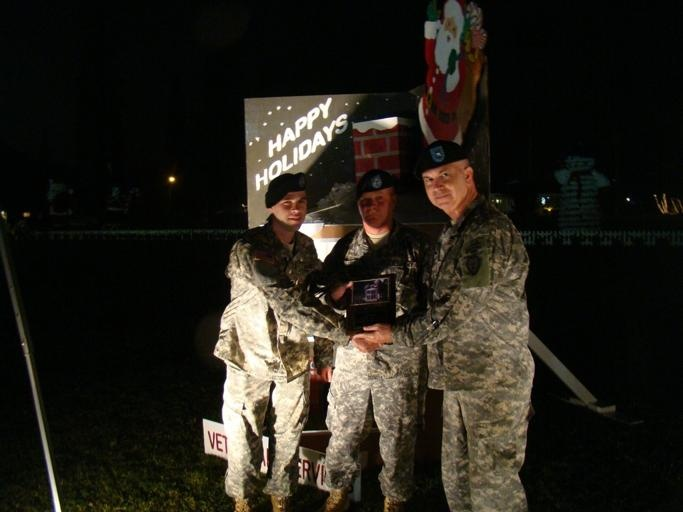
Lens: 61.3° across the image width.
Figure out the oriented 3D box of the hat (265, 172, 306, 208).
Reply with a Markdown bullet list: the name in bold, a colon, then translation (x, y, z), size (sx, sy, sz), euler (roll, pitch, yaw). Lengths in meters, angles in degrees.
- **hat**: translation (-0.547, -0.631, 5.536), size (0.370, 0.184, 0.276), euler (-42, -4, 4)
